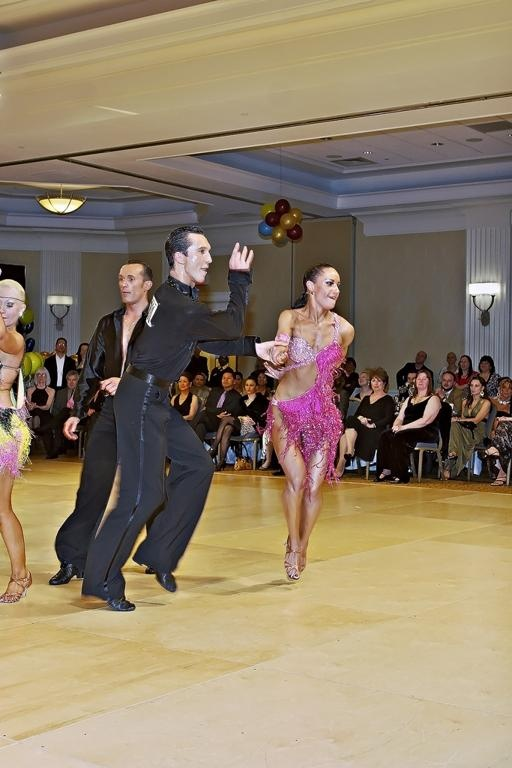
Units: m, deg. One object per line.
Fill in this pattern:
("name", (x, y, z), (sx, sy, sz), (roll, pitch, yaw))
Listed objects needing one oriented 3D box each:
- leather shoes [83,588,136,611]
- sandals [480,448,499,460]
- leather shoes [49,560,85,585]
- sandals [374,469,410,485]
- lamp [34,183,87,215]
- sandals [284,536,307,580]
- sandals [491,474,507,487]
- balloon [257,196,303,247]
("leather shoes", (-0.673, 0.973, 2.730), (0.206, 0.080, 0.065), (20, 17, -2))
("sandals", (3.036, 0.891, 7.851), (0.175, 0.147, 0.097), (0, -1, 35))
("leather shoes", (-1.020, 1.029, 3.318), (0.089, 0.108, 0.262), (-3, -9, 38))
("sandals", (1.813, 1.230, 8.029), (0.186, 0.195, 0.538), (4, -6, -35))
("lamp", (-3.813, -3.625, 12.008), (0.906, 0.545, 0.854), (-1, -4, 0))
("sandals", (0.210, 0.979, 3.335), (0.109, 0.252, 0.072), (-3, 1, -36))
("sandals", (3.123, 1.238, 7.840), (0.134, 0.166, 0.209), (0, -1, 40))
("balloon", (0.589, -2.791, 10.633), (0.708, 0.797, 0.849), (-1, 14, -36))
